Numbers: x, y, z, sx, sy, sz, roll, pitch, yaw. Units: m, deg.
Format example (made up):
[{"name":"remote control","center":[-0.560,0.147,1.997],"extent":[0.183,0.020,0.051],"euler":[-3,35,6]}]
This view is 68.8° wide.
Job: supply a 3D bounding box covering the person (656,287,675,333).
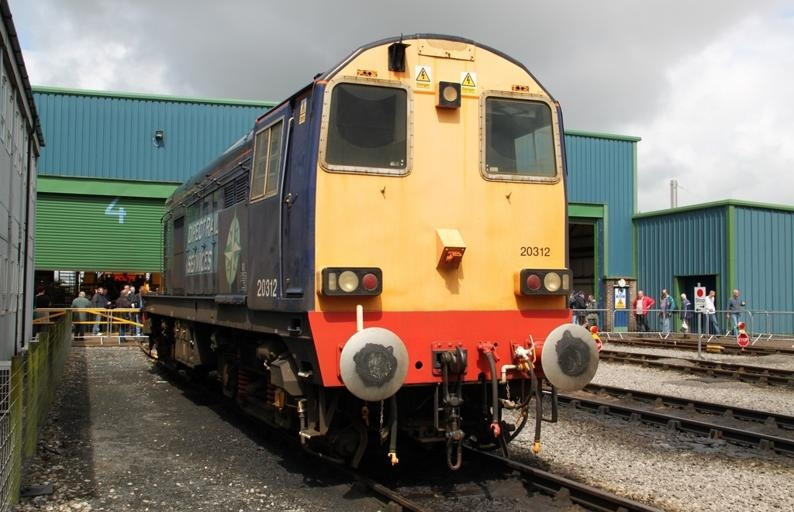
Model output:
[{"name":"person","center":[12.730,2.689,27.454],"extent":[0.803,2.098,0.536],"euler":[0,-4,38]}]
